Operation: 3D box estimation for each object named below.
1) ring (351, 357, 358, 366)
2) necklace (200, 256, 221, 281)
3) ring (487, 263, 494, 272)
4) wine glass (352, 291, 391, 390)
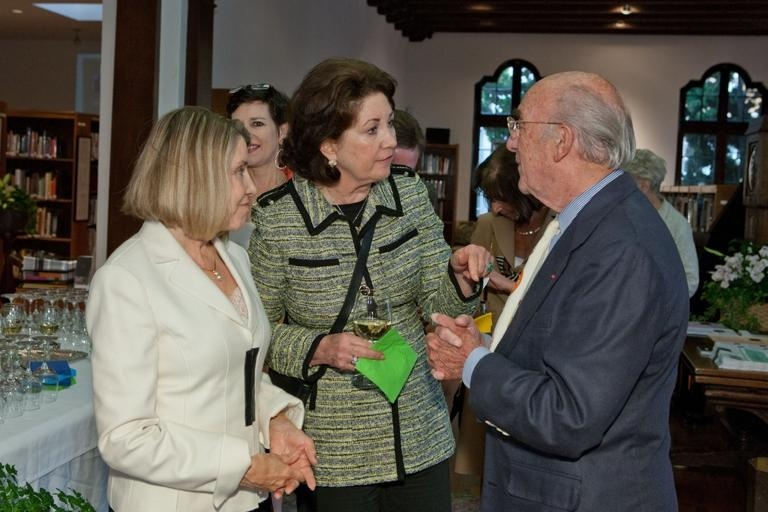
[{"bbox_3d":[-0.107,0.387,2.195,0.009,0.030,0.021,2,12,-31],"label":"ring"},{"bbox_3d":[-0.634,0.044,2.203,0.070,0.074,0.018,-19,24,-33],"label":"necklace"},{"bbox_3d":[0.415,0.044,2.352,0.025,0.037,0.012,4,-9,-13],"label":"ring"},{"bbox_3d":[-0.047,0.304,2.276,0.159,0.374,0.149,1,6,3],"label":"wine glass"}]
